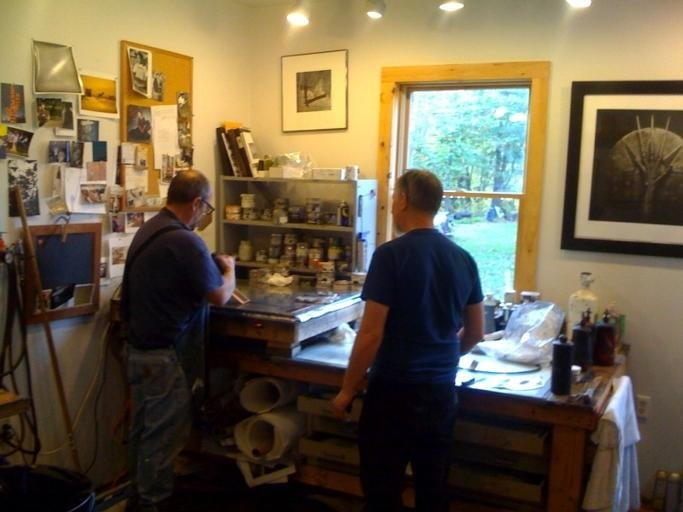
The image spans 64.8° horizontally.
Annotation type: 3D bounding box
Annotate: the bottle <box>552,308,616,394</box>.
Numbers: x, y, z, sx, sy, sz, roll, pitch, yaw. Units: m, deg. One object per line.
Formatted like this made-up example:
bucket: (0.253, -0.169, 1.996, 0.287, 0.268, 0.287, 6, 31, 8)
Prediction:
bottle: (1.287, 0.521, 2.854, 0.438, 0.350, 0.151, -4, 6, -42)

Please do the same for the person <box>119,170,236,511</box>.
person: (-0.855, 0.473, 2.883, 0.570, 1.849, 0.334, -3, 8, -21)

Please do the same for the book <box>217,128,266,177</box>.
book: (-0.757, -0.770, 4.041, 0.265, 0.428, 0.350, -3, 15, 28)

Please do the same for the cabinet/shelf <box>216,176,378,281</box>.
cabinet/shelf: (-0.294, -0.198, 3.919, 0.838, 0.643, 0.272, 2, 3, 21)

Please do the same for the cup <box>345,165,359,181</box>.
cup: (0.082, -0.587, 3.792, 0.121, 0.099, 0.091, 1, 4, 1)

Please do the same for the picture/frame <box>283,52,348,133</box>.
picture/frame: (-0.168, -1.246, 4.058, 0.672, 0.627, 0.047, 3, 8, 21)

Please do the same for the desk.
desk: (0.829, 0.811, 2.665, 1.344, 0.639, 0.967, -1, -2, 28)

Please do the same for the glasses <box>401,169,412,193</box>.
glasses: (0.295, -0.341, 2.423, 0.073, 0.089, 0.093, 5, 6, 10)
